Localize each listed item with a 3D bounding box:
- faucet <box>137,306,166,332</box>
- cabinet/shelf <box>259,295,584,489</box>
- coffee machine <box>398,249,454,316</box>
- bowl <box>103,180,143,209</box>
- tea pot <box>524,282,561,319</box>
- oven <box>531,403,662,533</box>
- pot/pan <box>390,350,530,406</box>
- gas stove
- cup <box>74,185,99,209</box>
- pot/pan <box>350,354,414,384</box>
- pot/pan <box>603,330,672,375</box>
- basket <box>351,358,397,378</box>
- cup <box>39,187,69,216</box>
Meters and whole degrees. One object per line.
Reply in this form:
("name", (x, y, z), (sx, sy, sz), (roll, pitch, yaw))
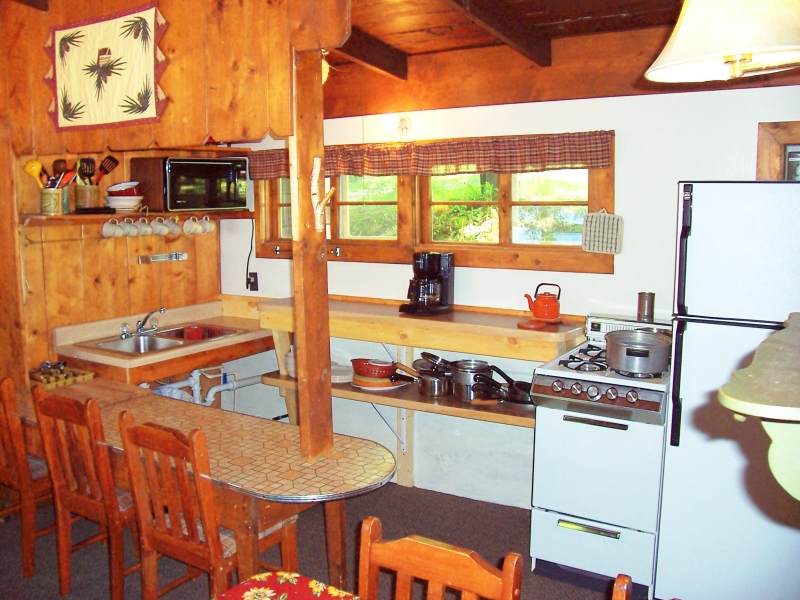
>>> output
("faucet", (-1.909, 0.138, 5.003), (0.218, 0.173, 0.342), (-2, 8, -20))
("cabinet/shelf", (0.001, 0.684, 4.509), (2.168, 1.053, 0.541), (6, -8, 20))
("coffee machine", (0.162, -0.119, 4.577), (0.346, 0.411, 0.367), (2, 3, 36))
("bowl", (-1.898, -0.713, 4.507), (0.196, 0.138, 0.225), (-5, 5, -39))
("tea pot", (0.928, 0.002, 4.257), (0.228, 0.217, 0.320), (3, 8, 14))
("oven", (1.049, 0.825, 3.673), (0.801, 0.705, 0.576), (7, 10, 31))
("pot/pan", (0.356, 0.474, 4.316), (0.913, 0.294, 0.319), (6, 7, 37))
("gas stove", (1.215, 0.482, 3.765), (0.802, 0.259, 0.905), (4, 9, 18))
("cup", (-2.151, -0.698, 4.466), (0.154, 0.165, 0.134), (-1, 9, -17))
("pot/pan", (-0.155, 0.449, 4.471), (0.317, 0.101, 0.178), (10, -1, 15))
("pot/pan", (1.262, 0.300, 3.544), (0.324, 0.187, 0.340), (6, 10, 13))
("basket", (-0.159, 0.460, 4.446), (0.181, 0.060, 0.172), (2, 3, -36))
("cup", (-2.216, -0.625, 4.219), (0.193, 0.189, 0.187), (2, 5, 0))
